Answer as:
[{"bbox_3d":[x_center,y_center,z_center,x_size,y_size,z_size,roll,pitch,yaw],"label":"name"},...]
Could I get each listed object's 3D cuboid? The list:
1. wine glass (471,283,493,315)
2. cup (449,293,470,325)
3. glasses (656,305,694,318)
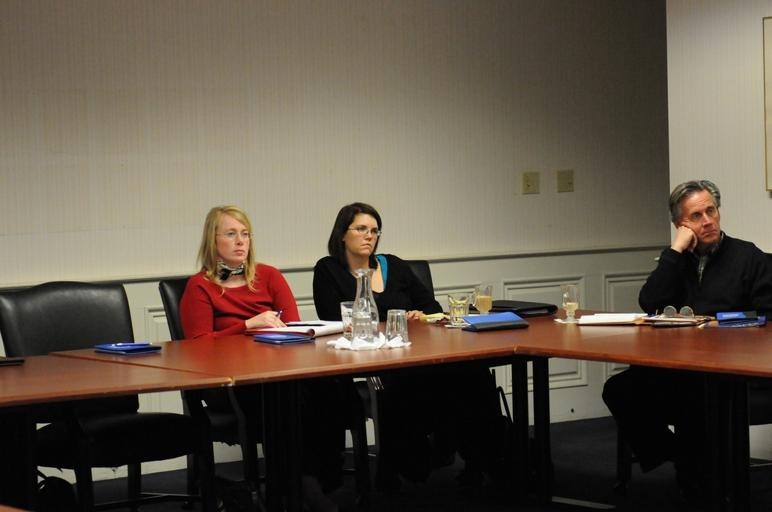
[{"bbox_3d":[0.512,0.212,2.894,0.156,0.159,0.097,-2,3,-33],"label":"wine glass"},{"bbox_3d":[0.375,0.264,2.809,0.136,0.148,0.136,-2,1,0],"label":"cup"},{"bbox_3d":[1.389,0.267,2.665,0.103,0.042,0.173,1,-4,32],"label":"glasses"}]
